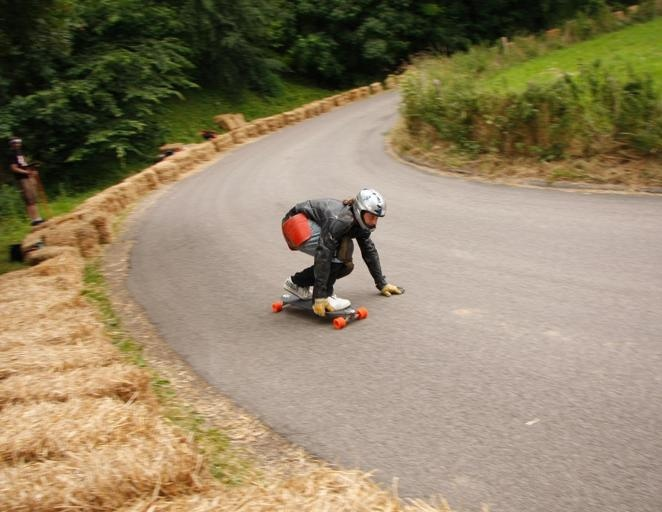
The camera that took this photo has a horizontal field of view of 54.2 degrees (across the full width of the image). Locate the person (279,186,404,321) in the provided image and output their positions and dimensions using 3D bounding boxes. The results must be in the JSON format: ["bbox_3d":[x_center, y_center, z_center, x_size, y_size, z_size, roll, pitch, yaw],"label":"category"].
[{"bbox_3d":[0.197,-0.055,8.828,1.476,1.790,0.930,-17,21,6],"label":"person"}]

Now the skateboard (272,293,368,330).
[{"bbox_3d":[-0.232,0.734,8.976,1.429,0.122,0.478,8,15,26],"label":"skateboard"}]

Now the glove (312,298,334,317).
[{"bbox_3d":[-0.131,0.672,8.734,0.245,0.244,0.156,-18,20,-1],"label":"glove"}]

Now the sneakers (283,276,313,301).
[{"bbox_3d":[-0.483,0.468,9.208,0.639,0.186,0.184,18,11,-3],"label":"sneakers"}]
